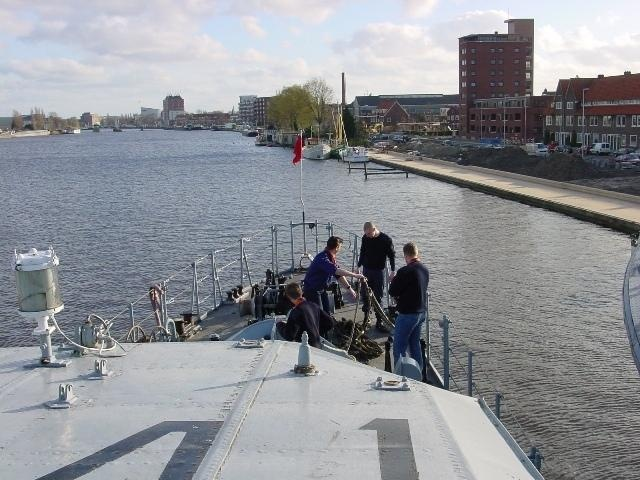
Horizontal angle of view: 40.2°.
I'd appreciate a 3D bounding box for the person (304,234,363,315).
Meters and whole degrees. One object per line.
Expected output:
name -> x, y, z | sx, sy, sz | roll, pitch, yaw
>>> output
person -> 0.319, 0.748, 18.998 | 1.259, 1.754, 0.843 | 0, 36, -7
